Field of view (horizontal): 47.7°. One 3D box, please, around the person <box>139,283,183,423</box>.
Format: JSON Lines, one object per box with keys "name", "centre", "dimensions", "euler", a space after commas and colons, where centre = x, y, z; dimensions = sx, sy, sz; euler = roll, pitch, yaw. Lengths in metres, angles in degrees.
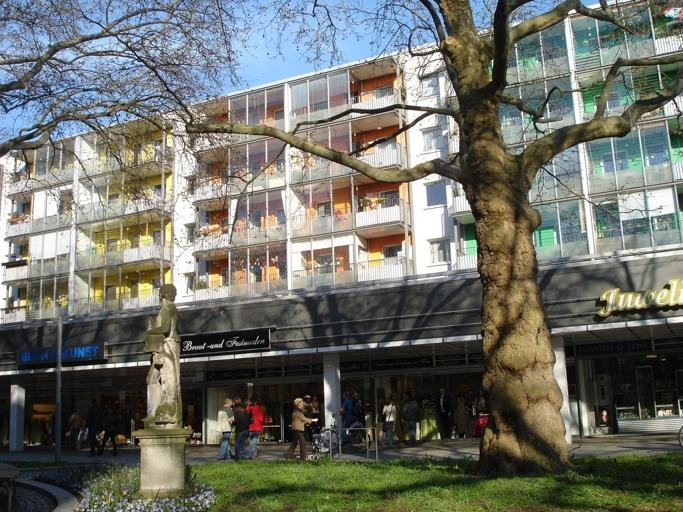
{"name": "person", "centre": [-3.549, 1.945, 15.197], "dimensions": [0.702, 2.864, 0.601], "euler": [0, -17, -14]}
